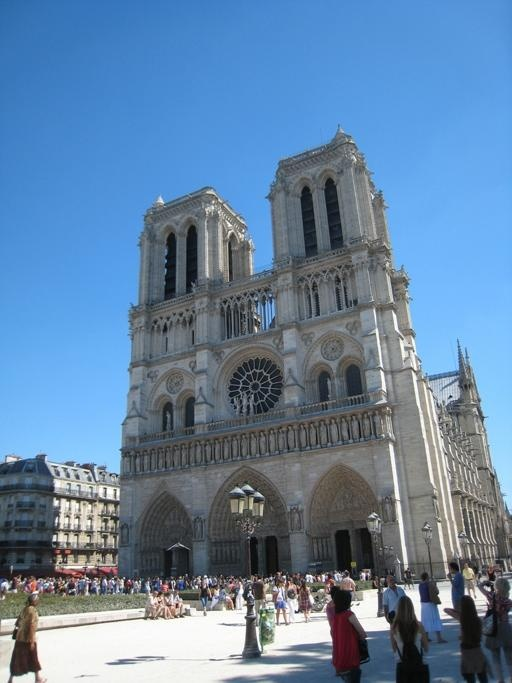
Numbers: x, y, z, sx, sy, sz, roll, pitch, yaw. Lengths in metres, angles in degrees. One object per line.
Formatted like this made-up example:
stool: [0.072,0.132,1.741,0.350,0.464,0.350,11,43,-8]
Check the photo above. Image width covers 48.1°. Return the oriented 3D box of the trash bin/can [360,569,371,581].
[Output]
trash bin/can: [5.911,12.475,30.710,0.567,0.258,0.702,-2,2,-4]
